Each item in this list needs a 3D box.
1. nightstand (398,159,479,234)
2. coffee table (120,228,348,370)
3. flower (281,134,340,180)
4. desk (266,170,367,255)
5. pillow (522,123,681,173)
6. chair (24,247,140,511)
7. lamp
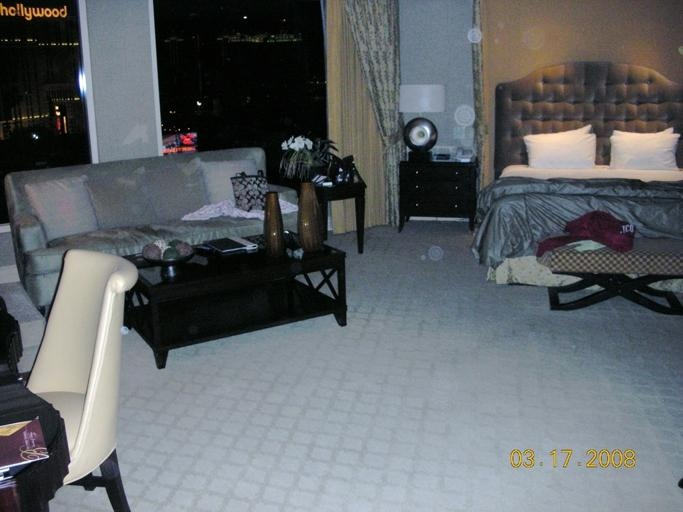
[{"bbox_3d":[1.179,-0.759,6.335,0.892,0.785,0.403,2,13,12],"label":"nightstand"},{"bbox_3d":[-0.772,0.290,3.806,1.507,0.636,0.812,-16,22,-27],"label":"coffee table"},{"bbox_3d":[-0.441,-1.094,5.686,0.582,0.414,0.620,14,31,24],"label":"flower"},{"bbox_3d":[-0.112,-0.648,5.699,0.809,1.011,1.096,-10,20,-26],"label":"desk"},{"bbox_3d":[2.897,-1.195,5.857,1.584,0.409,0.655,2,21,19],"label":"pillow"},{"bbox_3d":[-1.033,0.383,2.111,0.444,0.695,0.601,-19,24,-35],"label":"chair"},{"bbox_3d":[0.989,-1.657,6.411,0.530,0.893,0.653,-2,20,8],"label":"lamp"}]
